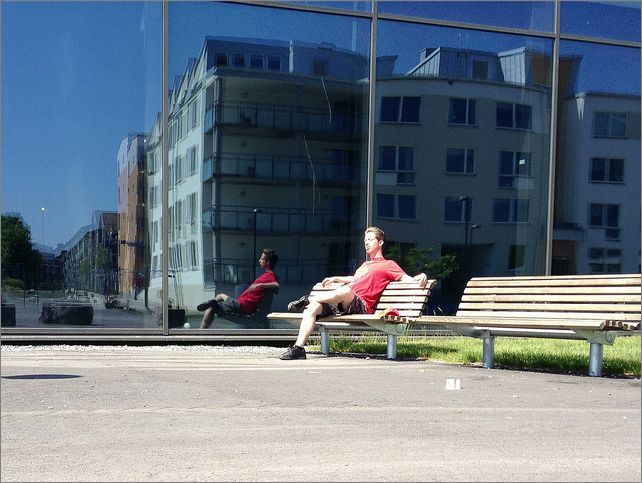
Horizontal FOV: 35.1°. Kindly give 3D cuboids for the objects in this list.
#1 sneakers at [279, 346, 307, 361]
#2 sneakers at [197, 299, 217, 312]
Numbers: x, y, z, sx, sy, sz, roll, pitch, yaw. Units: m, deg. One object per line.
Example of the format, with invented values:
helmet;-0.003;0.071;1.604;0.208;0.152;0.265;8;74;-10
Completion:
sneakers;-0.303;1.253;11.424;0.331;0.156;0.130;8;-11;-24
sneakers;-1.515;0.844;13.578;0.300;0.108;0.119;-20;19;-12
